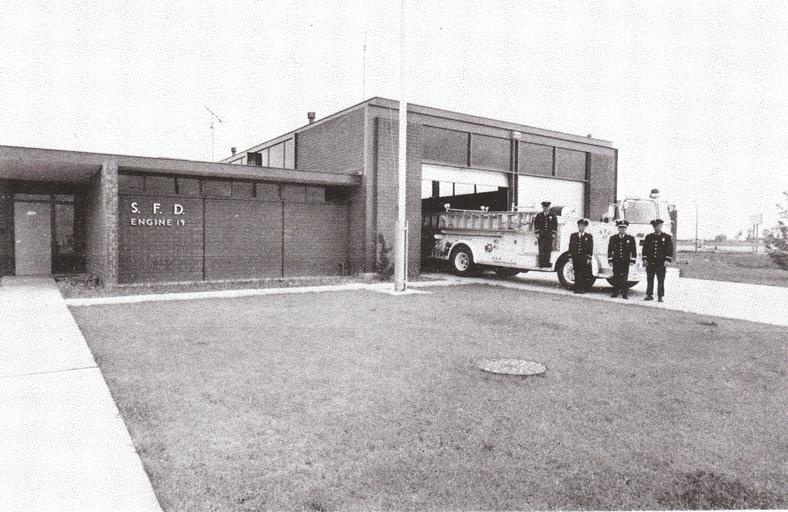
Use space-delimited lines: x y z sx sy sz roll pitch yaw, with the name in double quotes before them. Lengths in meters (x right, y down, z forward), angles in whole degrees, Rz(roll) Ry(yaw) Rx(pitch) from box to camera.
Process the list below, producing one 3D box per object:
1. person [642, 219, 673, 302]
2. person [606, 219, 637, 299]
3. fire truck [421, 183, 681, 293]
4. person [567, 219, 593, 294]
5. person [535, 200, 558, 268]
"person" 7.106 0.084 17.030 0.747 2.178 1.485 3 4 22
"person" 6.262 0.052 17.452 0.696 2.126 0.764 5 6 44
"fire truck" 5.017 -0.515 21.492 4.078 3.175 8.010 1 -1 -39
"person" 5.413 -0.011 18.249 0.707 2.102 0.538 2 4 15
"person" 4.740 -0.667 19.634 0.758 2.052 0.392 3 5 31
